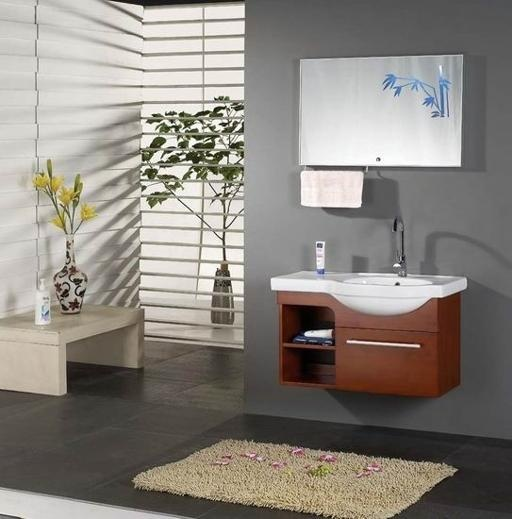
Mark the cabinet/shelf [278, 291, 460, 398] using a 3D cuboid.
[{"bbox_3d":[0.543,0.390,2.667,0.830,0.525,0.417,4,10,29],"label":"cabinet/shelf"}]

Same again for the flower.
[{"bbox_3d":[-1.493,-0.476,4.313,0.584,0.656,0.510,1,3,21],"label":"flower"}]

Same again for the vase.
[{"bbox_3d":[-1.425,0.122,4.067,0.226,0.567,0.168,0,9,0],"label":"vase"}]

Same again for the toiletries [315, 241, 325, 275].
[{"bbox_3d":[0.342,-0.014,2.872,0.059,0.172,0.193,1,9,6],"label":"toiletries"}]
